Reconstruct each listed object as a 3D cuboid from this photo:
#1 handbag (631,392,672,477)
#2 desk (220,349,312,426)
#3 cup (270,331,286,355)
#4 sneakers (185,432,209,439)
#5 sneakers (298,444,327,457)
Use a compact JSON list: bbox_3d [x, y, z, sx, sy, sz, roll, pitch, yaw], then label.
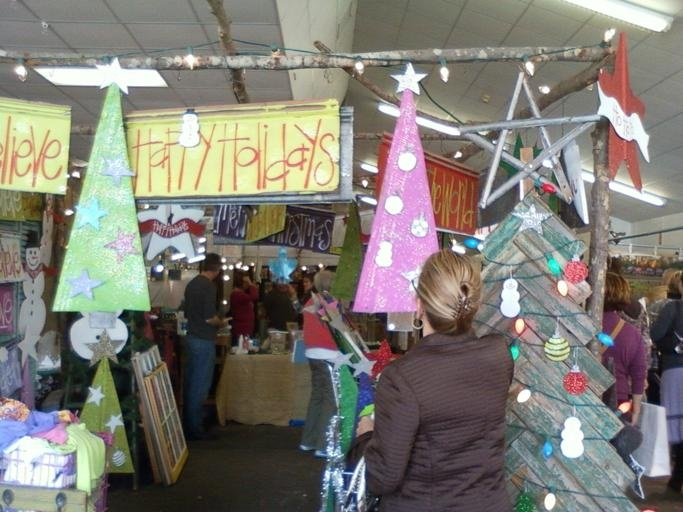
[{"bbox_3d":[2.029,1.220,3.774,0.211,0.537,0.287,2,1,28],"label":"handbag"},{"bbox_3d":[-1.186,1.419,6.753,1.444,0.711,1.461,5,-5,-9],"label":"desk"},{"bbox_3d":[-0.712,0.975,6.518,0.207,0.233,0.209,-1,3,0],"label":"cup"},{"bbox_3d":[-1.413,1.763,5.686,0.240,0.066,0.106,2,1,-13],"label":"sneakers"},{"bbox_3d":[-0.254,1.811,5.359,0.295,0.126,0.102,-4,-8,26],"label":"sneakers"}]
